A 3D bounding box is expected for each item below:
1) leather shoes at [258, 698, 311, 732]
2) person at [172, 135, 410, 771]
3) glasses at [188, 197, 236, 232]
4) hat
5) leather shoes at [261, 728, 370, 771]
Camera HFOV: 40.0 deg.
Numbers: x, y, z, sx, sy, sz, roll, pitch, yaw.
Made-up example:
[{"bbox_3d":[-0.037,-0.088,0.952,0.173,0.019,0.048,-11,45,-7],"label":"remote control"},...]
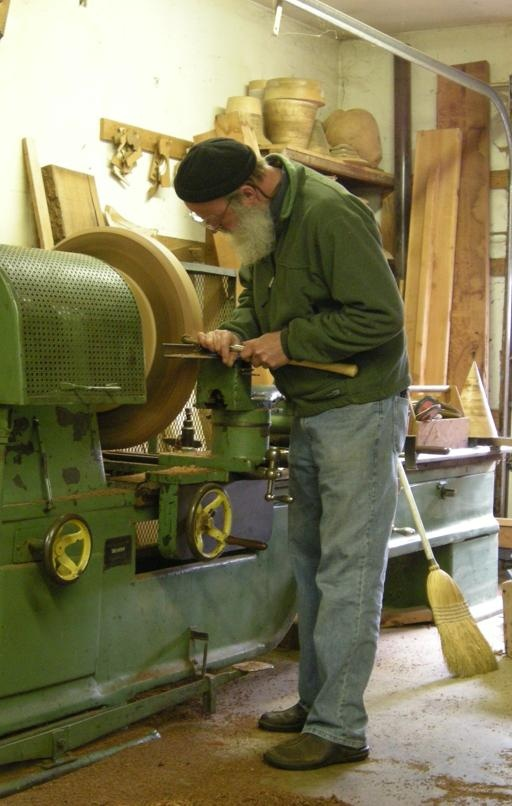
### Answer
[{"bbox_3d":[0.085,0.926,2.078,0.175,0.072,0.063,3,-5,-4],"label":"leather shoes"},{"bbox_3d":[0.118,0.130,1.920,0.586,1.637,0.548,0,-6,11],"label":"person"},{"bbox_3d":[-0.112,-0.497,1.868,0.084,0.027,0.089,19,-20,36],"label":"glasses"},{"bbox_3d":[-0.120,-0.594,1.743,0.203,0.086,0.201,-14,-13,-32],"label":"hat"},{"bbox_3d":[0.155,0.882,1.831,0.269,0.104,0.098,2,-4,-6],"label":"leather shoes"}]
